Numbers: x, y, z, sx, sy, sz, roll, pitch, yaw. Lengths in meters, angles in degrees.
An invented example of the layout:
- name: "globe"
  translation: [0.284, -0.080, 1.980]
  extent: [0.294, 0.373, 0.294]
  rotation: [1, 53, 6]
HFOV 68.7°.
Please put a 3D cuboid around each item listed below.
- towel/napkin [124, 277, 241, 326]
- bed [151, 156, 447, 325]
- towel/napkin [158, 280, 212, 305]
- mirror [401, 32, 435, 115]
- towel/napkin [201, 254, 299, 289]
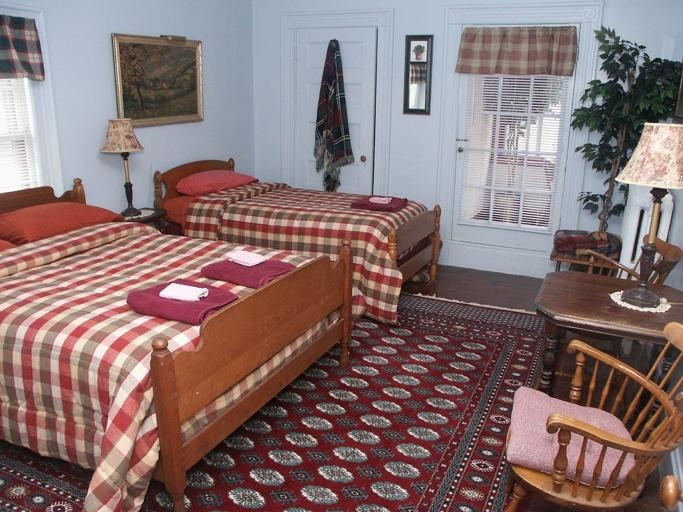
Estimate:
- name: "towel/napkin"
  translation: [-0.917, 0.272, 2.752]
  extent: [0.365, 0.081, 0.333]
  rotation: [10, 19, 24]
- name: "bed"
  translation: [-0.555, -0.137, 5.203]
  extent: [2.591, 1.014, 1.617]
  rotation: [8, 21, 22]
- name: "towel/napkin"
  translation: [-0.899, 0.213, 2.842]
  extent: [0.169, 0.037, 0.130]
  rotation: [8, 23, 11]
- name: "mirror"
  translation: [0.888, -2.089, 5.751]
  extent: [0.320, 0.857, 0.167]
  rotation: [4, 21, 8]
- name: "towel/napkin"
  translation: [-0.550, 0.107, 3.231]
  extent: [0.281, 0.063, 0.333]
  rotation: [13, 16, 41]
